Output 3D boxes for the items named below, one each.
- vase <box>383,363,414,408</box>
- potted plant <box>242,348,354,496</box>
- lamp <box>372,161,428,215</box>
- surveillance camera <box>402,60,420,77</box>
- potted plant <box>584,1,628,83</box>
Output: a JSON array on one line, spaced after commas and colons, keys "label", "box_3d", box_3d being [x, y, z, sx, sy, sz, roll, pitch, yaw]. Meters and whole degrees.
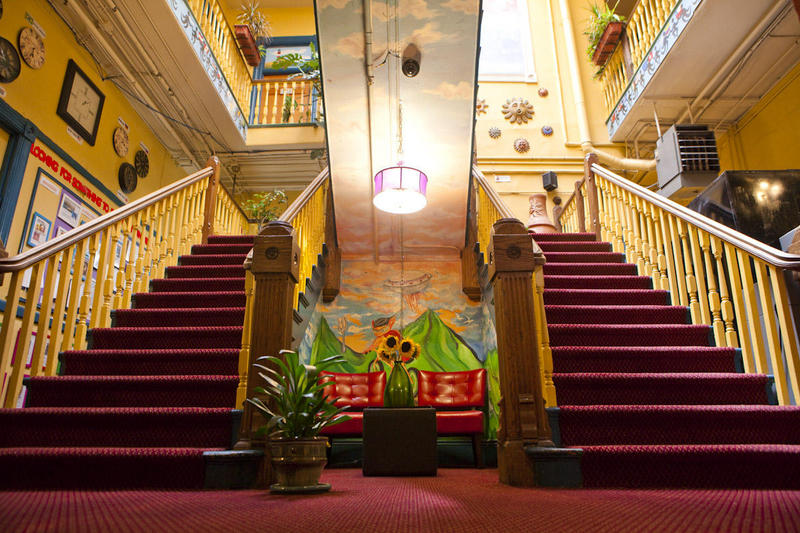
[{"label": "vase", "box_3d": [-0.001, 1.015, 4.341, 0.257, 0.339, 0.390, 1, -3, -22]}, {"label": "potted plant", "box_3d": [-0.528, 1.047, 3.527, 0.854, 1.049, 0.922, -3, -14, -2]}, {"label": "lamp", "box_3d": [0.000, -0.804, 5.679, 0.556, 0.583, 0.561, 5, -22, -10]}, {"label": "surveillance camera", "box_3d": [0.112, -2.149, 5.424, 0.155, 0.051, 0.160, 4, -61, -1]}, {"label": "potted plant", "box_3d": [3.532, -4.095, 9.158, 0.726, 0.935, 1.540, 0, -10, 2]}]
